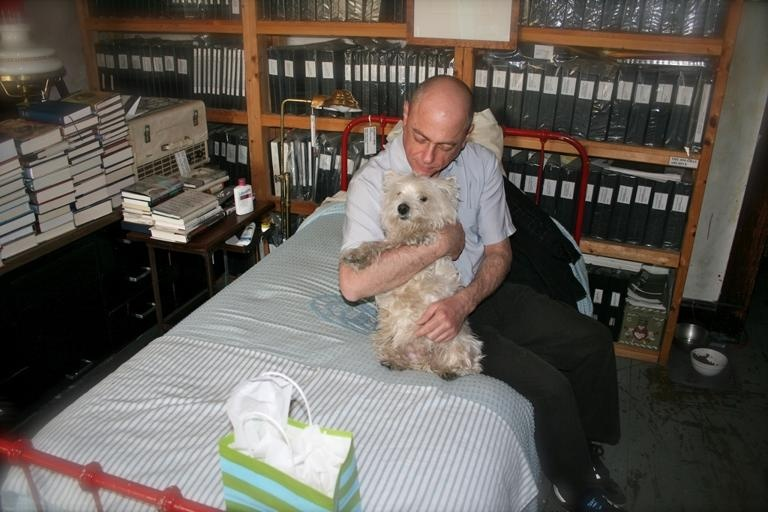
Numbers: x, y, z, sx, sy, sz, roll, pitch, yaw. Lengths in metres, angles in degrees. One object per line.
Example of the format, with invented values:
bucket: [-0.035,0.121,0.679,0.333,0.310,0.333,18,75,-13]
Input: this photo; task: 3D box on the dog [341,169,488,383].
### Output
dog: [0.139,0.095,2.480,0.657,0.985,0.419,-4,7,8]
